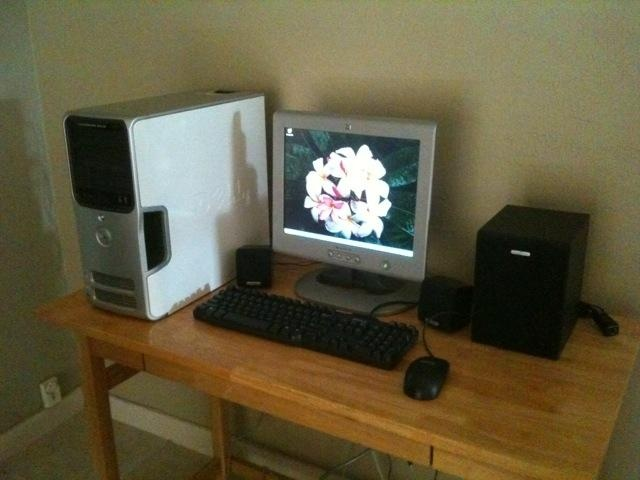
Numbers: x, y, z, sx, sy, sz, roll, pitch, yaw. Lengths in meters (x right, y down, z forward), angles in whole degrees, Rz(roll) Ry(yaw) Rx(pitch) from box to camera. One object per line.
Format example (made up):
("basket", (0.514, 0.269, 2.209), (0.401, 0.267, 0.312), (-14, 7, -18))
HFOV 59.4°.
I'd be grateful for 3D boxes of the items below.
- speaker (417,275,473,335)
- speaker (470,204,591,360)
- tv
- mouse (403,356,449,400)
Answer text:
("speaker", (0.333, 0.179, 1.622), (0.151, 0.157, 0.141), (14, 26, 30))
("speaker", (0.551, 0.057, 1.644), (0.351, 0.446, 0.320), (12, 24, 25))
("tv", (0.105, -0.085, 1.651), (0.500, 0.494, 0.307), (10, 21, 27))
("mouse", (0.253, 0.332, 1.359), (0.086, 0.062, 0.117), (10, 19, 23))
